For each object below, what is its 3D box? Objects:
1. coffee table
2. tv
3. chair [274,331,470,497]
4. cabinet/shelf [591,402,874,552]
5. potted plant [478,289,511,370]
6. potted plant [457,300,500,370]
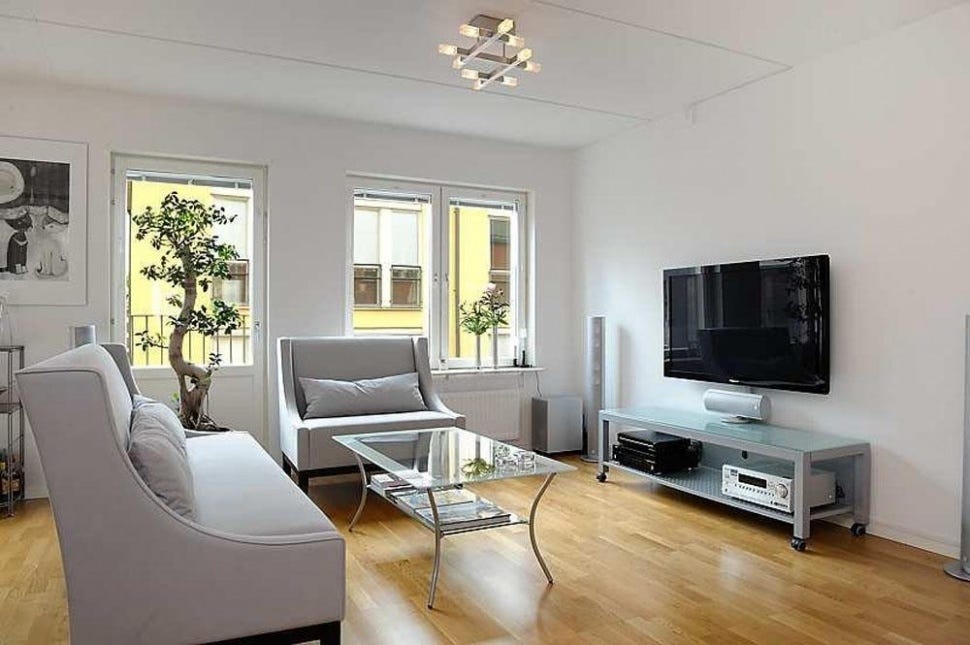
[{"bbox_3d":[-0.246,1.146,4.215,0.997,0.738,1.430,-4,8,-30],"label":"coffee table"},{"bbox_3d":[2.054,-0.006,5.152,0.144,1.058,1.393,-6,9,-36],"label":"tv"},{"bbox_3d":[-0.978,0.732,5.562,1.445,1.137,0.877,-1,4,-35],"label":"chair"},{"bbox_3d":[1.866,1.093,4.965,0.747,0.653,1.824,-6,9,-42],"label":"cabinet/shelf"},{"bbox_3d":[0.087,-0.011,6.679,0.288,0.641,0.274,-5,0,11],"label":"potted plant"},{"bbox_3d":[-0.048,0.078,6.654,0.635,0.805,0.608,0,1,-11],"label":"potted plant"}]
